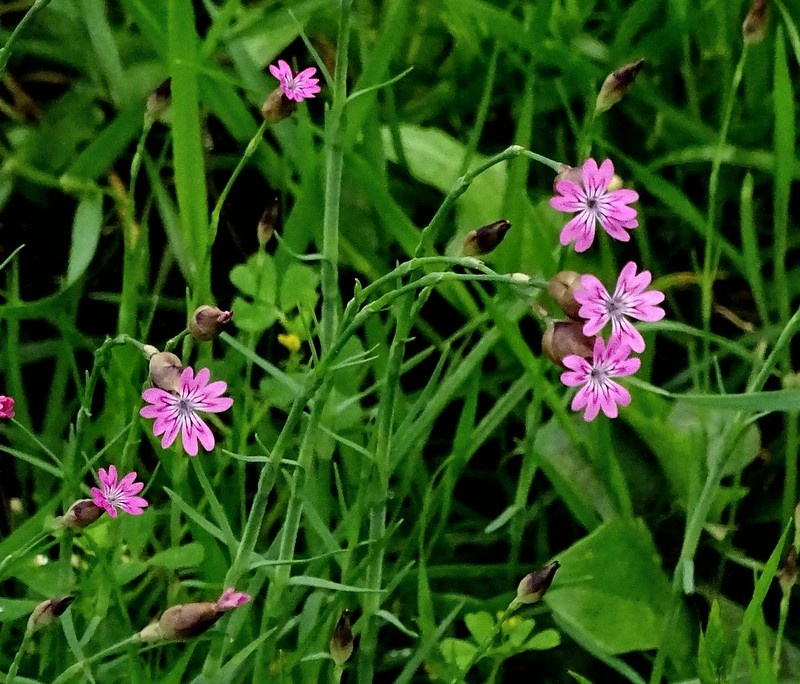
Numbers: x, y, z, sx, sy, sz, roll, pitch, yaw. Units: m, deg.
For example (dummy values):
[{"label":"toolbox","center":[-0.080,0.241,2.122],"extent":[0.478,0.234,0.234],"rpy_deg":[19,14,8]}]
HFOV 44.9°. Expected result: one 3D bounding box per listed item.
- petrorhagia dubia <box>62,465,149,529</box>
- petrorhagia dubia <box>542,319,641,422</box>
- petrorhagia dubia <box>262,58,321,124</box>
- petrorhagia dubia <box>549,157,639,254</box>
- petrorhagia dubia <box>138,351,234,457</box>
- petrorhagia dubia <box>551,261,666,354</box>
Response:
[{"label":"petrorhagia dubia","center":[-0.348,0.182,1.130],"extent":[0.046,0.071,0.049],"rpy_deg":[-43,109,-30]},{"label":"petrorhagia dubia","center":[0.201,0.024,0.975],"extent":[0.115,0.124,0.048],"rpy_deg":[5,102,-2]},{"label":"petrorhagia dubia","center":[-0.126,-0.272,1.140],"extent":[0.052,0.106,0.068],"rpy_deg":[-8,40,-22]},{"label":"petrorhagia dubia","center":[0.196,-0.140,0.992],"extent":[0.089,0.111,0.025],"rpy_deg":[14,50,-2]},{"label":"petrorhagia dubia","center":[-0.221,0.064,1.012],"extent":[0.087,0.108,0.037],"rpy_deg":[0,58,6]},{"label":"petrorhagia dubia","center":[0.214,-0.040,0.976],"extent":[0.093,0.098,0.027],"rpy_deg":[23,17,-2]}]
